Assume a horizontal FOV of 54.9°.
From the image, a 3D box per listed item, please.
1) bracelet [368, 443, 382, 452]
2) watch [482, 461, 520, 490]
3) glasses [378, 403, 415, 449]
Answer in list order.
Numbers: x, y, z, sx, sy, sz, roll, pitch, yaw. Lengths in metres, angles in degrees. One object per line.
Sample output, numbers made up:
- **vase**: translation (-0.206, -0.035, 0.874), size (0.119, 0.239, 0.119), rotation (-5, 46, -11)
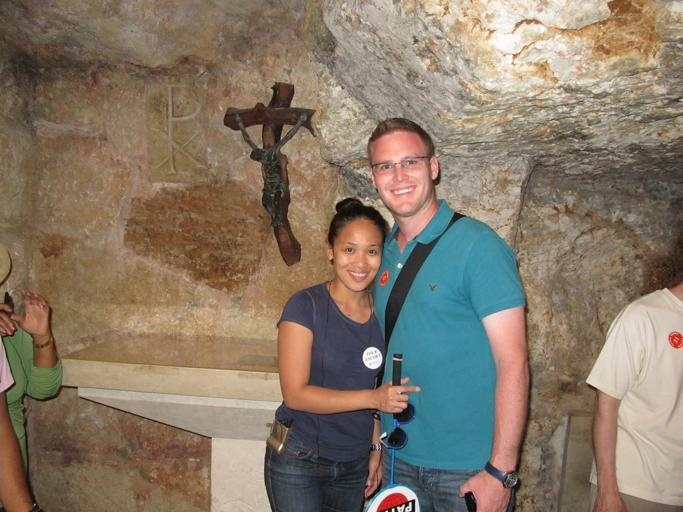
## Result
- **bracelet**: translation (0.136, 0.710, 2.436), size (0.039, 0.021, 0.047), rotation (1, -1, -5)
- **watch**: translation (0.499, 0.695, 2.104), size (0.093, 0.055, 0.098), rotation (27, -4, -40)
- **glasses**: translation (0.162, 0.568, 2.230), size (0.049, 0.146, 0.149), rotation (36, -37, 19)
